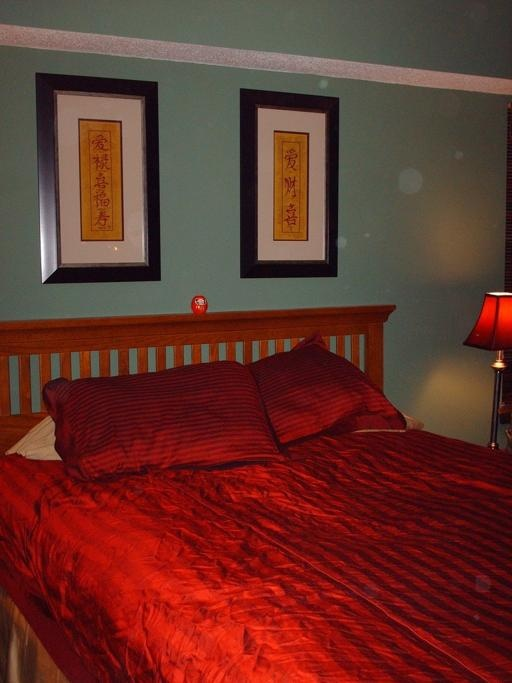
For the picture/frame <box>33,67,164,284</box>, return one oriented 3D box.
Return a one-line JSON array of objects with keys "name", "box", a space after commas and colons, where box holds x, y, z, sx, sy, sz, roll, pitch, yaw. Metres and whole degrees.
[{"name": "picture/frame", "box": [-0.574, -0.596, 2.182, 0.428, 0.747, 0.065, -3, 3, -27]}]
